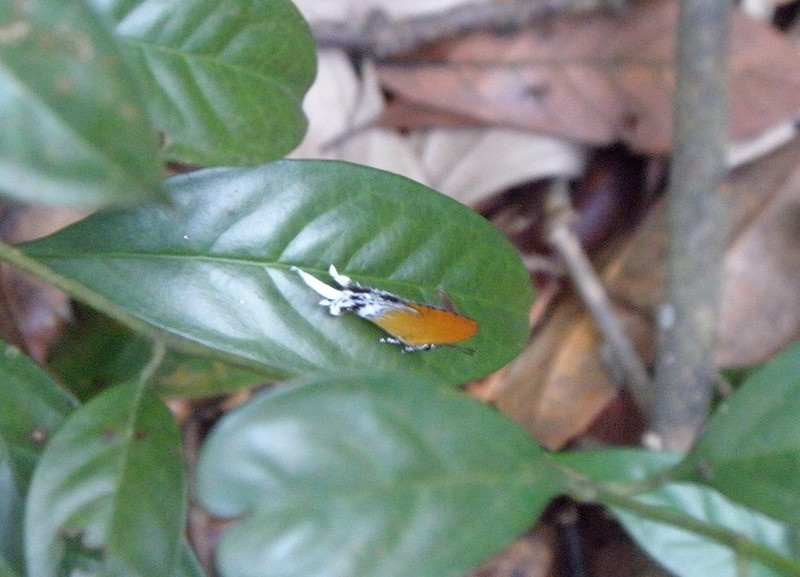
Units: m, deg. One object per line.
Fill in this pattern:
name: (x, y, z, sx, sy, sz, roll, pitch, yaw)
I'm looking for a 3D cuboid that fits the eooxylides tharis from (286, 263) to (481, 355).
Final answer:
eooxylides tharis: (-0.024, 0.043, 0.847, 0.132, 0.086, 0.052, 21, 85, -23)
